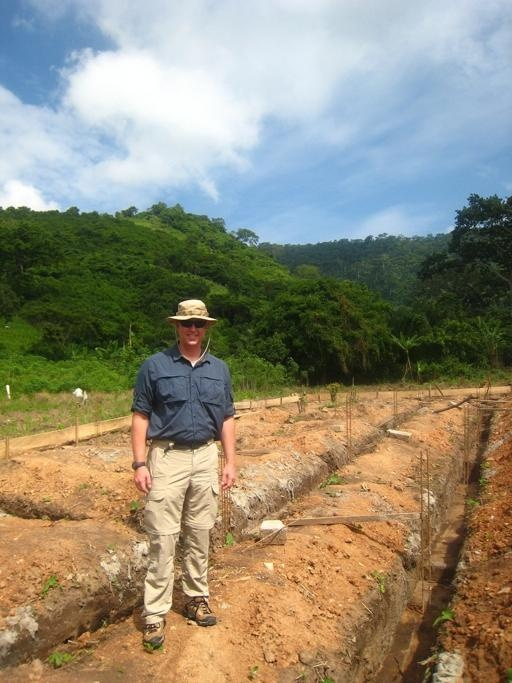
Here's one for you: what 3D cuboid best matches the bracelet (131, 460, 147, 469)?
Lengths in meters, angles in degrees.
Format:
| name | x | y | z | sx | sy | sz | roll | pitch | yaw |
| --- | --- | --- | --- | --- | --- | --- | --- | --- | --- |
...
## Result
| name | x | y | z | sx | sy | sz | roll | pitch | yaw |
| --- | --- | --- | --- | --- | --- | --- | --- | --- | --- |
| bracelet | -0.756 | 0.807 | 3.248 | 0.071 | 0.042 | 0.073 | 10 | -43 | -37 |

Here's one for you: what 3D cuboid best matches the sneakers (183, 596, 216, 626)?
| name | x | y | z | sx | sy | sz | roll | pitch | yaw |
| --- | --- | --- | --- | --- | --- | --- | --- | --- | --- |
| sneakers | -0.389 | 1.880 | 3.555 | 0.128 | 0.129 | 0.261 | 9 | -11 | -38 |

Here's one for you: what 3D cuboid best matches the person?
| name | x | y | z | sx | sy | sz | roll | pitch | yaw |
| --- | --- | --- | --- | --- | --- | --- | --- | --- | --- |
| person | -0.485 | 0.849 | 3.413 | 0.727 | 2.238 | 0.430 | -3 | 8 | -42 |
